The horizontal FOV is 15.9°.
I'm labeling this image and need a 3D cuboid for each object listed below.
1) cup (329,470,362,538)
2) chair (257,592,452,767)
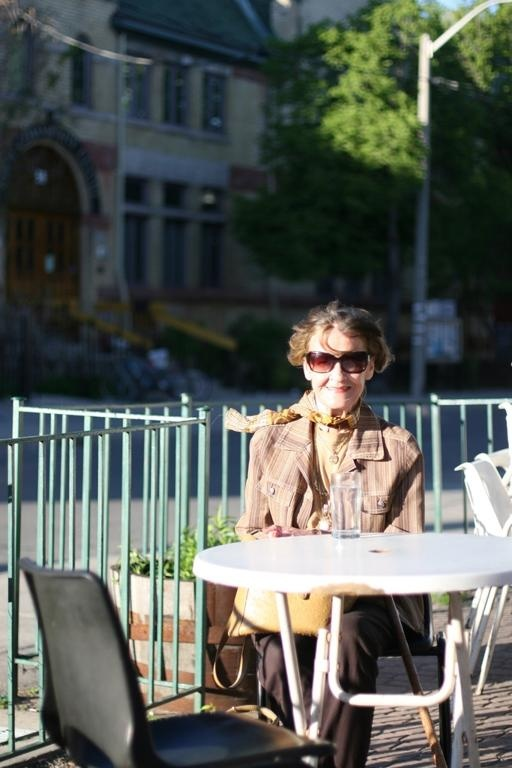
[{"bbox_3d":[0.439,0.592,9.022,0.149,0.323,0.121,-2,0,2],"label":"cup"},{"bbox_3d":[0.501,1.451,9.109,0.689,0.969,0.882,4,-7,-42],"label":"chair"}]
